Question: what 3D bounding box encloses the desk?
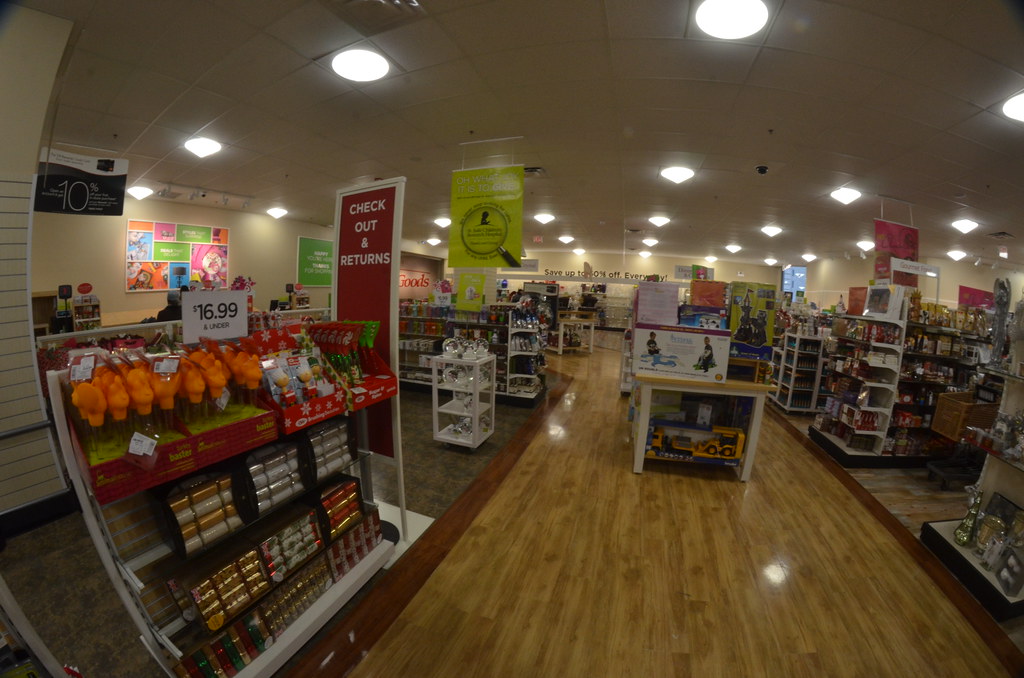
[{"bbox_3d":[2.380,1.147,7.475,1.716,1.285,1.084,5,6,-2],"label":"desk"}]
